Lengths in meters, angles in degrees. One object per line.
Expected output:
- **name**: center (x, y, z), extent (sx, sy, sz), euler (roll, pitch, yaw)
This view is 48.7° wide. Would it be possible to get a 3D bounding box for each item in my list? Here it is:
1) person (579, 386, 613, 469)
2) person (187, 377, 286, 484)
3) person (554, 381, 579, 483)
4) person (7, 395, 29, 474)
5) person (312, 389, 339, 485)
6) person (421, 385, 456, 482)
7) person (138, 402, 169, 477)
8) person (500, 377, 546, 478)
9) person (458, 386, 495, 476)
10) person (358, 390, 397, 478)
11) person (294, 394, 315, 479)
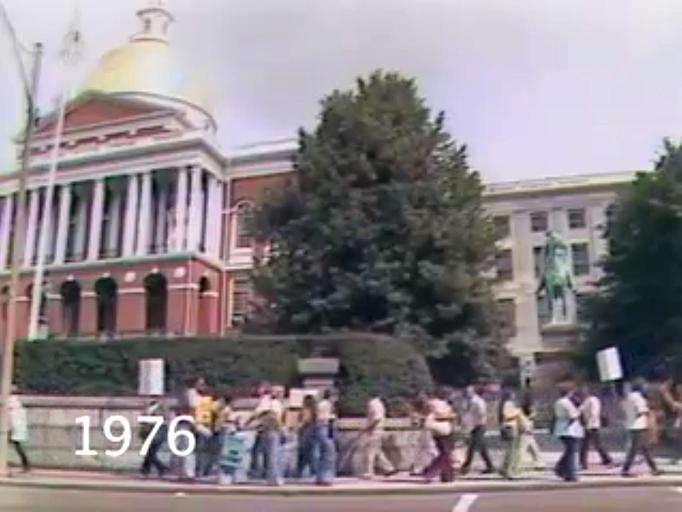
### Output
- **person**: center (5.311, 3.623, 15.799), extent (0.606, 1.626, 1.316), euler (-4, -11, 20)
- **person**: center (-1.679, 3.621, 15.550), extent (1.436, 1.851, 0.528), euler (-2, -6, 15)
- **person**: center (4.679, 3.645, 15.451), extent (0.574, 1.732, 1.582), euler (-4, -11, 16)
- **person**: center (-6.875, 3.802, 16.109), extent (0.493, 1.579, 0.620), euler (4, -12, -21)
- **person**: center (-0.338, 3.623, 15.143), extent (0.421, 1.823, 0.841), euler (0, -11, -1)
- **person**: center (1.964, 3.650, 14.920), extent (0.644, 1.583, 0.286), euler (-2, -11, 6)
- **person**: center (-3.916, 3.846, 15.884), extent (0.495, 1.520, 0.907), euler (3, -11, -18)
- **person**: center (3.631, 3.708, 15.386), extent (0.727, 1.575, 0.622), euler (-3, -11, 12)
- **person**: center (2.815, 3.631, 15.662), extent (0.596, 1.742, 0.663), euler (-4, -12, 20)
- **person**: center (0.790, 3.716, 15.579), extent (0.580, 1.631, 0.690), euler (-4, -11, 17)
- **person**: center (-0.694, 3.586, 15.191), extent (0.336, 1.514, 0.709), euler (1, -11, -9)
